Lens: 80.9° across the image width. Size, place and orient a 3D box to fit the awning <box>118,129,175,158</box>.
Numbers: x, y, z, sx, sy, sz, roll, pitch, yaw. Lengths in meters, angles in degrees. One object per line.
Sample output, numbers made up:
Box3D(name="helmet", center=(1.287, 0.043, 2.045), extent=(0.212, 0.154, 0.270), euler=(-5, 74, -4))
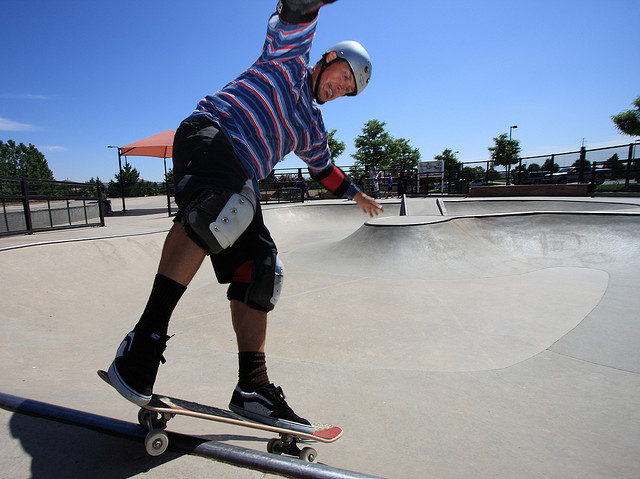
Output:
Box3D(name="awning", center=(-5.343, -2.957, 11.793), extent=(1.376, 0.826, 2.525), euler=(-5, 13, -25))

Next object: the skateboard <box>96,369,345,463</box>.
Box3D(name="skateboard", center=(-0.444, 0.814, 1.685), extent=(0.914, 0.159, 0.242), euler=(19, -11, -19))
